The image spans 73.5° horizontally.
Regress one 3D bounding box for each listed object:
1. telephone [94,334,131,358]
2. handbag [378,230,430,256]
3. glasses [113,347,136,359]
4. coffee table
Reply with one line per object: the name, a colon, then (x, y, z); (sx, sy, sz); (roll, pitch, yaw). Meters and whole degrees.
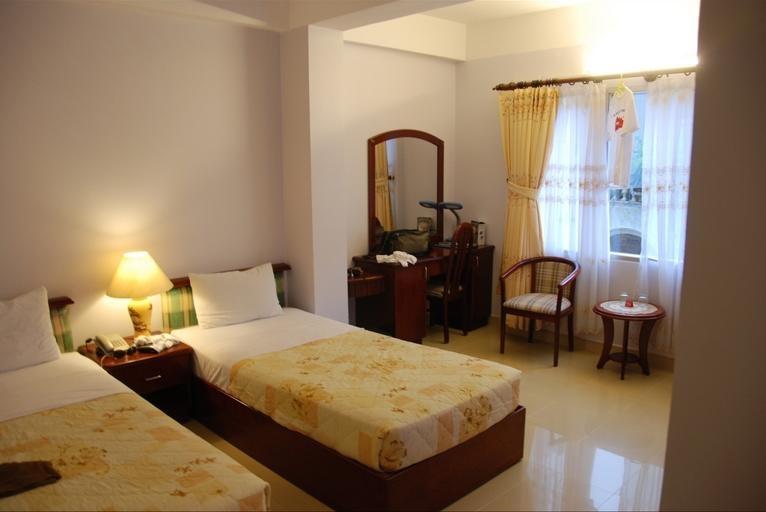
telephone: (-1.890, 0.625, 3.600); (0.225, 0.090, 0.164); (26, 17, 26)
handbag: (0.241, -0.159, 5.424); (0.276, 0.154, 0.447); (9, 14, 43)
glasses: (-1.786, 0.664, 3.531); (0.078, 0.030, 0.069); (5, 7, 33)
coffee table: (2.187, 0.722, 4.575); (0.531, 0.645, 0.595); (12, 16, 43)
